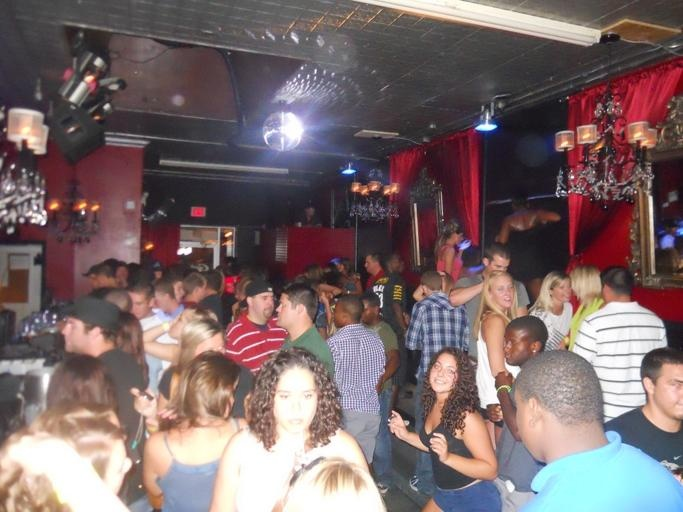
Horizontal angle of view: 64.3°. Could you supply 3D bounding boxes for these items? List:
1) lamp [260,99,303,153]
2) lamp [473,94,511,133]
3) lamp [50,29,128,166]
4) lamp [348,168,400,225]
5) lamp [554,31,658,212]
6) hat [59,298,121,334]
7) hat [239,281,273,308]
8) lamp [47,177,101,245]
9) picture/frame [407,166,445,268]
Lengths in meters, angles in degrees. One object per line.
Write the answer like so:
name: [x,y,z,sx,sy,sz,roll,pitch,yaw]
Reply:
lamp: [-0.706,-1.591,6.523,0.564,0.688,0.564,2,-2,-26]
lamp: [1.926,-1.862,7.070,0.455,0.474,0.398,-1,5,-21]
lamp: [-2.629,-1.715,5.629,0.468,1.263,0.879,4,-34,4]
lamp: [0.664,-1.161,10.767,0.971,1.138,1.024,3,-3,-3]
lamp: [2.624,-1.407,5.375,0.889,1.584,0.828,2,7,17]
hat: [-1.761,0.442,3.830,0.316,0.129,0.228,25,4,-7]
hat: [-0.719,0.284,4.639,0.197,0.167,0.262,1,-2,-38]
lamp: [-4.193,-0.731,8.543,0.835,1.096,0.872,-9,-7,38]
picture/frame: [1.481,-0.534,9.402,0.069,1.847,1.356,-4,0,-16]
